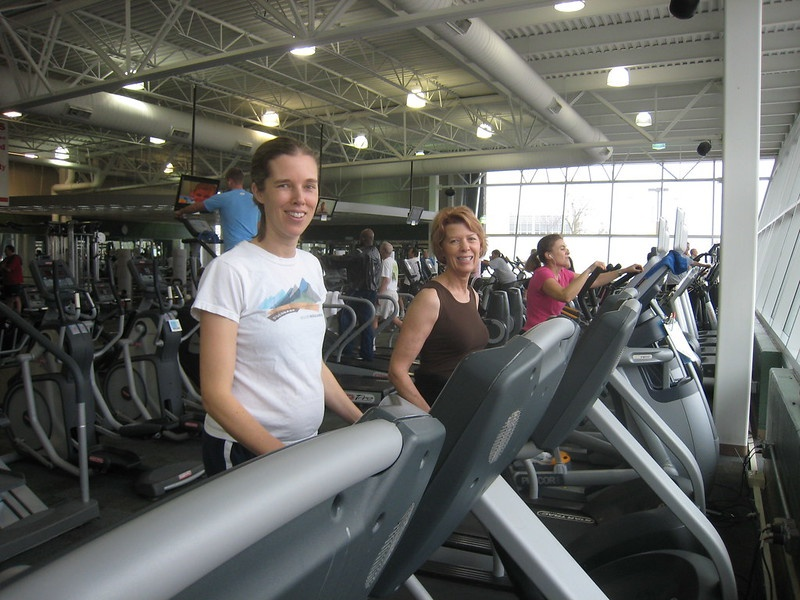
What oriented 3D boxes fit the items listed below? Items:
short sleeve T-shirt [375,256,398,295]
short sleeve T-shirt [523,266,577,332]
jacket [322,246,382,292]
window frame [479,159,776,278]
[{"bbox_3d":[-0.186,-0.325,8.056,0.257,0.478,0.633,2,-5,10],"label":"short sleeve T-shirt"},{"bbox_3d":[0.943,-0.043,3.978,0.255,0.373,0.416,25,22,16],"label":"short sleeve T-shirt"},{"bbox_3d":[-0.501,-0.336,6.470,0.642,0.383,0.448,1,5,-1],"label":"jacket"},{"bbox_3d":[4.458,-1.767,11.799,4.857,2.273,0.114,1,-5,20],"label":"window frame"}]
